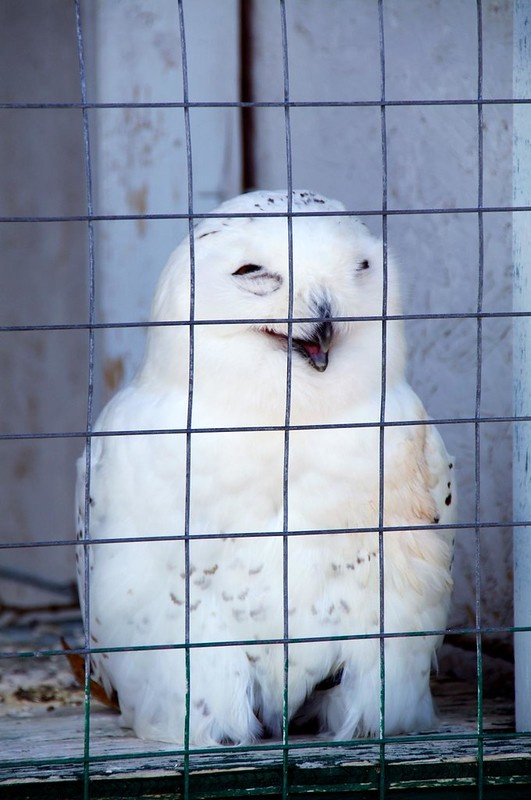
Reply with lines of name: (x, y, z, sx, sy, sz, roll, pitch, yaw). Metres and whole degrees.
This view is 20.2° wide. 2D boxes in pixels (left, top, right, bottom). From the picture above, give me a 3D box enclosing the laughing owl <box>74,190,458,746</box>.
laughing owl: (-0.027, 0.080, 2.212, 0.650, 0.909, 0.635, -1, 1, -18)
